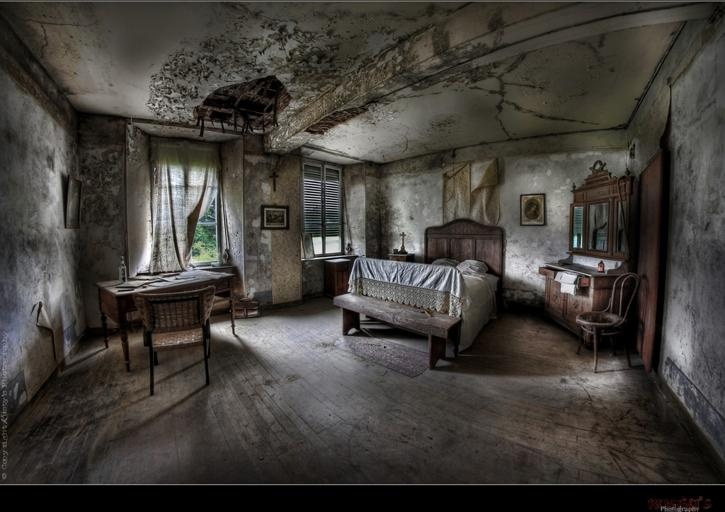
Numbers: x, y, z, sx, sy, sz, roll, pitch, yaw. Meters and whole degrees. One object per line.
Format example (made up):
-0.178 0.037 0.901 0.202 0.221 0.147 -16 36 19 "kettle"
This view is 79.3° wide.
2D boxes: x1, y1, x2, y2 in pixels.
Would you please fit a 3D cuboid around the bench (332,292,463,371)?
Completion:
0.427 1.048 6.463 1.974 0.628 0.565 10 15 37 "bench"

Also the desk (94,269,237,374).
-2.807 0.896 6.592 1.579 0.955 1.216 -11 6 -33 "desk"

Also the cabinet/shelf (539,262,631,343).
3.255 0.619 6.729 0.684 0.996 1.124 -3 10 -10 "cabinet/shelf"

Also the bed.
1.235 0.248 7.447 2.007 1.869 2.862 6 7 29 "bed"

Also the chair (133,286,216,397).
-2.438 0.984 5.734 1.070 1.242 1.052 1 9 2 "chair"

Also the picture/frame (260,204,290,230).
-1.682 -0.718 8.226 0.523 0.400 0.043 -1 2 -44 "picture/frame"

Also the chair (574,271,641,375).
3.365 0.825 5.899 1.010 1.167 0.737 -3 13 -12 "chair"
